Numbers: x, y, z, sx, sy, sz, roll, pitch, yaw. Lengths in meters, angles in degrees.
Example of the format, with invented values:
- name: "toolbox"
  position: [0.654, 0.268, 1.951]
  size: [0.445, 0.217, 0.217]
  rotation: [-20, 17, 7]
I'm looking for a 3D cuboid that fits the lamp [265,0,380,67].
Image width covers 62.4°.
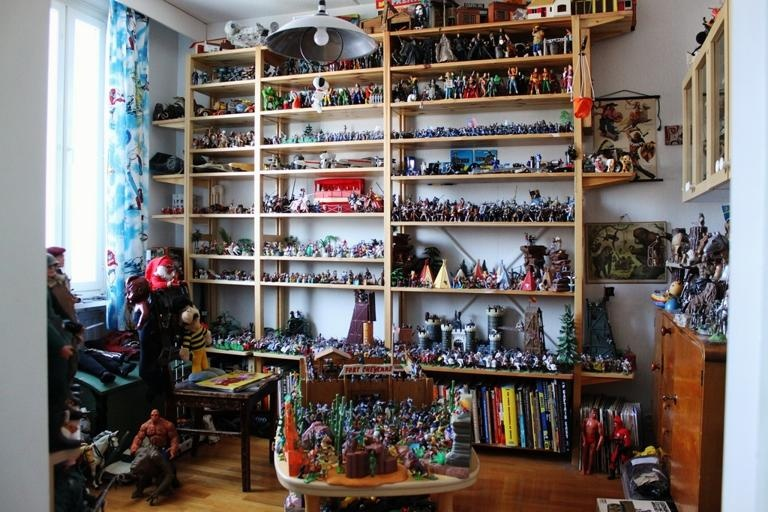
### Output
- name: "lamp"
  position: [-0.382, -1.376, 3.761]
  size: [0.548, 0.233, 0.469]
  rotation: [1, 0, 35]
